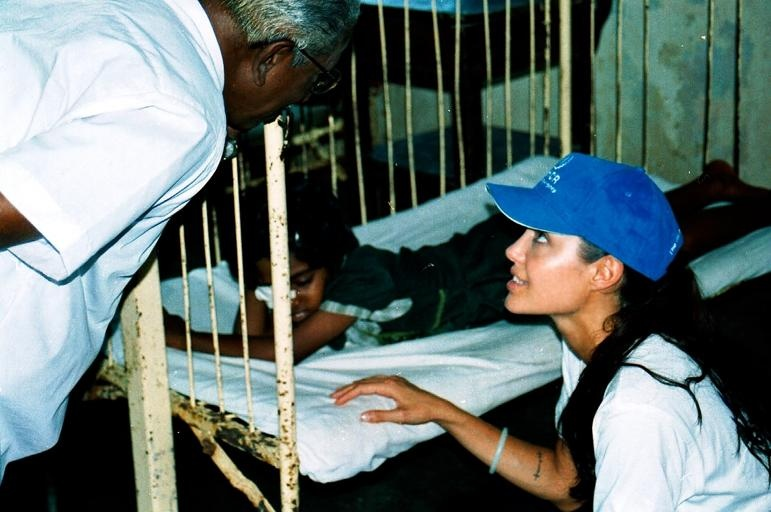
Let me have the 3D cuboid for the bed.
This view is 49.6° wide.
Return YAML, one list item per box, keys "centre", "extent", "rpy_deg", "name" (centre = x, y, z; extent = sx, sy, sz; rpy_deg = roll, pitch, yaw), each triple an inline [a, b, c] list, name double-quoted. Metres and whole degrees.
- centre: [0.365, 0.262, 2.665]
  extent: [1.856, 0.214, 1.125]
  rpy_deg: [-23, 35, -24]
  name: "bed"

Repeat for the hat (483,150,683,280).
- centre: [0.504, -0.091, 2.139]
  extent: [0.402, 0.191, 0.297]
  rpy_deg: [29, 13, 4]
  name: "hat"

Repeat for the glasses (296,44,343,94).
- centre: [-0.150, -0.430, 1.928]
  extent: [0.023, 0.079, 0.075]
  rpy_deg: [-38, 1, 1]
  name: "glasses"

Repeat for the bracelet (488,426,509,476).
- centre: [0.308, 0.532, 2.253]
  extent: [0.022, 0.097, 0.098]
  rpy_deg: [17, 12, 6]
  name: "bracelet"
